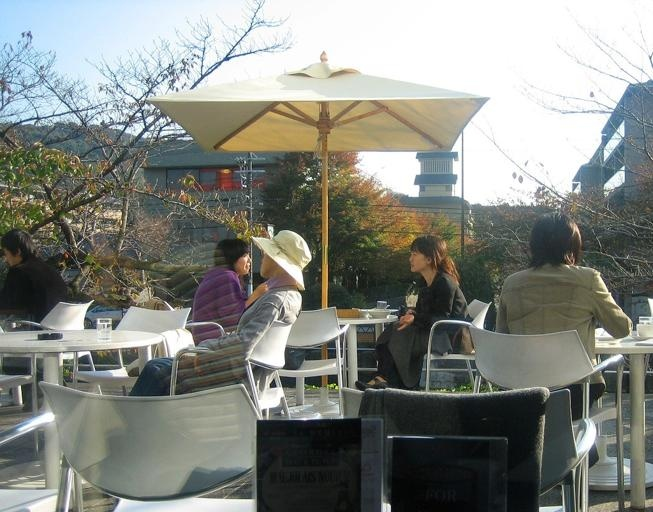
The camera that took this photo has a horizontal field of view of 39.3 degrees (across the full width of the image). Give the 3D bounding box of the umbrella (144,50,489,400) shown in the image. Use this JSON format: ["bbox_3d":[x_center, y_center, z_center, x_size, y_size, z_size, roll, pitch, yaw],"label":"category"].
[{"bbox_3d":[-0.117,-0.568,13.694,5.323,4.854,5.014,0,-3,3],"label":"umbrella"}]

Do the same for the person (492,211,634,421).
[{"bbox_3d":[1.788,0.243,6.989,0.969,1.158,0.331,0,-5,10],"label":"person"}]

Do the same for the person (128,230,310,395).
[{"bbox_3d":[-0.643,0.386,6.710,0.724,1.300,1.332,-4,-8,42],"label":"person"}]

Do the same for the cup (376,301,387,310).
[{"bbox_3d":[0.575,0.512,9.393,0.084,0.090,0.108,3,-8,-21],"label":"cup"}]

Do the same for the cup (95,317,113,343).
[{"bbox_3d":[-1.736,0.590,7.141,0.146,0.269,0.153,-1,4,0],"label":"cup"}]
